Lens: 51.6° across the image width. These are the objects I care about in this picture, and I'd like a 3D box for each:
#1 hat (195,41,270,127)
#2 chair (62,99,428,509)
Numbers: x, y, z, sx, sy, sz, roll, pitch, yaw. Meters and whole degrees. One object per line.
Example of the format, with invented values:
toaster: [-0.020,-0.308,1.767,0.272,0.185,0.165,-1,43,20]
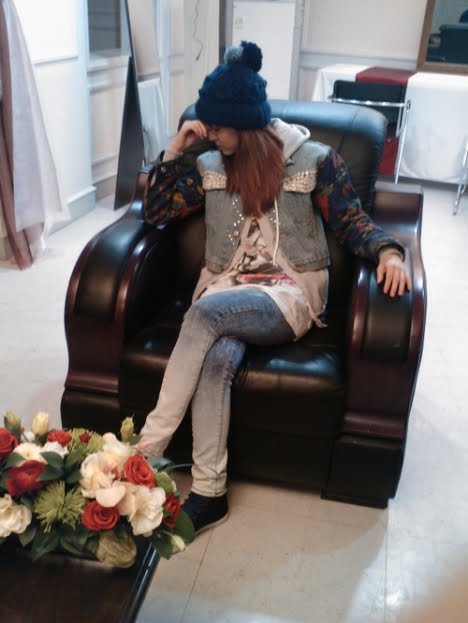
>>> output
hat: [-0.004,-0.682,1.464,0.222,0.239,0.232,0,28,-1]
chair: [0.060,-0.088,1.565,0.994,1.066,0.799,9,28,13]
